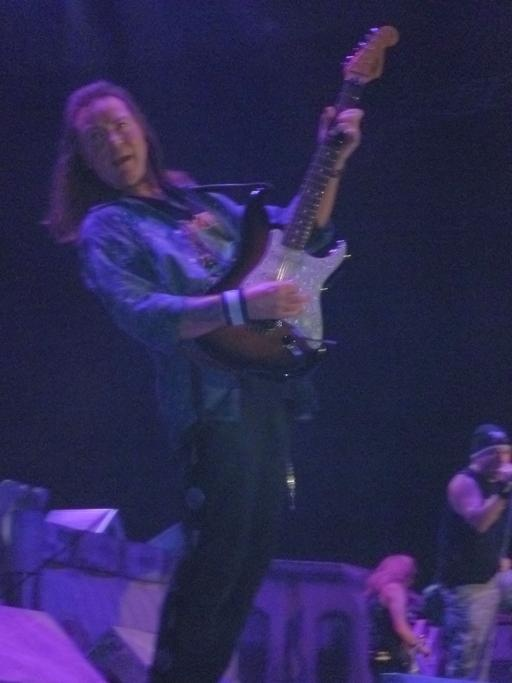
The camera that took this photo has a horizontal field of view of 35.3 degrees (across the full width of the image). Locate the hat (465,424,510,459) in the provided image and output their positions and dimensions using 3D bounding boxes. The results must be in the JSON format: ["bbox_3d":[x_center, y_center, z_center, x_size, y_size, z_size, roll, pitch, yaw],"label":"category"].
[{"bbox_3d":[0.645,0.272,2.207,0.107,0.077,0.091,-12,-18,27],"label":"hat"}]

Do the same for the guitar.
[{"bbox_3d":[0.161,-0.335,2.094,0.447,0.948,0.120,32,-3,5],"label":"guitar"}]
